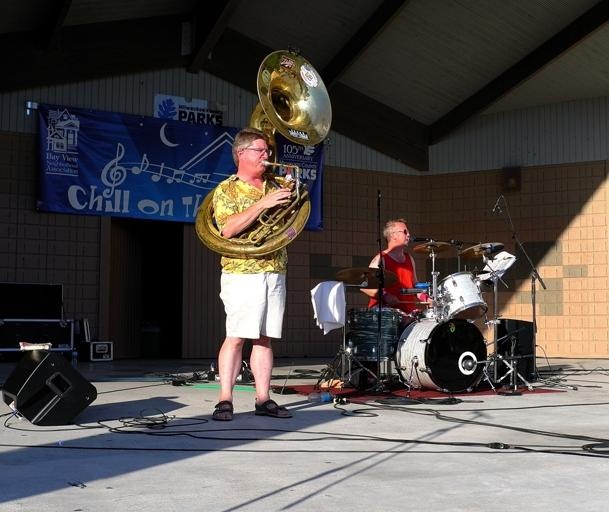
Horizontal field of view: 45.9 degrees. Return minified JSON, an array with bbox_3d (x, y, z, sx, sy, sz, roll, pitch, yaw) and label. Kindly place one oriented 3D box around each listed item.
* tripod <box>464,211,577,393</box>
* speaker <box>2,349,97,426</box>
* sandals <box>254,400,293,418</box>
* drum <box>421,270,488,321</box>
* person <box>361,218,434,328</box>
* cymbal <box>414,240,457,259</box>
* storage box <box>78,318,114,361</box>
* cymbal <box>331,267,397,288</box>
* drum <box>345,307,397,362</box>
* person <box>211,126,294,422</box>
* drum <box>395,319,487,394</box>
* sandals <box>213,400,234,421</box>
[{"bbox_3d":[2.704,0.550,8.711,1.051,2.097,1.140,7,-1,8],"label":"tripod"},{"bbox_3d":[-1.437,0.754,4.283,0.568,0.364,0.625,6,-3,-40],"label":"speaker"},{"bbox_3d":[-0.204,0.946,4.461,0.256,0.081,0.089,-5,-6,36],"label":"sandals"},{"bbox_3d":[1.228,0.315,5.737,0.484,0.377,0.275,3,-2,-38],"label":"drum"},{"bbox_3d":[0.853,0.145,6.355,0.722,0.879,0.799,-1,-4,31],"label":"person"},{"bbox_3d":[1.463,-0.071,7.988,0.306,0.091,0.293,11,-19,-40],"label":"cymbal"},{"bbox_3d":[-2.713,1.081,9.286,0.443,0.460,0.405,5,-3,-27],"label":"storage box"},{"bbox_3d":[0.483,0.174,5.739,0.383,0.157,0.441,2,-2,-24],"label":"cymbal"},{"bbox_3d":[0.542,0.633,5.906,0.435,0.412,0.356,3,0,-13],"label":"drum"},{"bbox_3d":[-0.258,0.132,4.471,0.624,1.783,0.692,2,3,41],"label":"person"},{"bbox_3d":[1.068,0.782,5.685,0.642,0.591,0.421,2,-2,-27],"label":"drum"},{"bbox_3d":[-0.488,0.920,4.275,0.125,0.086,0.274,1,-7,-3],"label":"sandals"}]
